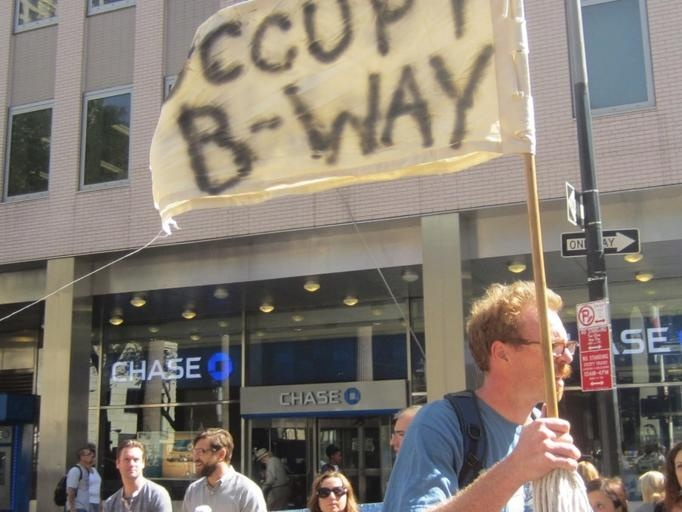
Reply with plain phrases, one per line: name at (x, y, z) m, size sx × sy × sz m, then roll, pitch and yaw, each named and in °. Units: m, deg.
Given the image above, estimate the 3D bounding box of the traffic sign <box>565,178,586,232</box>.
traffic sign at (3.030, -0.701, 12.066) m, size 0.064 × 0.575 × 0.777 m, roll -14°, pitch -33°, yaw 36°

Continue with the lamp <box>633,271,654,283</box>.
lamp at (5.364, 0.351, 16.560) m, size 0.198 × 0.117 × 0.209 m, roll -8°, pitch -31°, yaw 22°

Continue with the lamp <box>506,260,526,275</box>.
lamp at (3.028, 0.179, 16.149) m, size 0.230 × 0.154 × 0.236 m, roll -7°, pitch -7°, yaw 33°

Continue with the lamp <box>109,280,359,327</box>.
lamp at (-2.488, 0.943, 18.818) m, size 5.165 × 0.570 × 1.885 m, roll -5°, pitch -6°, yaw 21°
